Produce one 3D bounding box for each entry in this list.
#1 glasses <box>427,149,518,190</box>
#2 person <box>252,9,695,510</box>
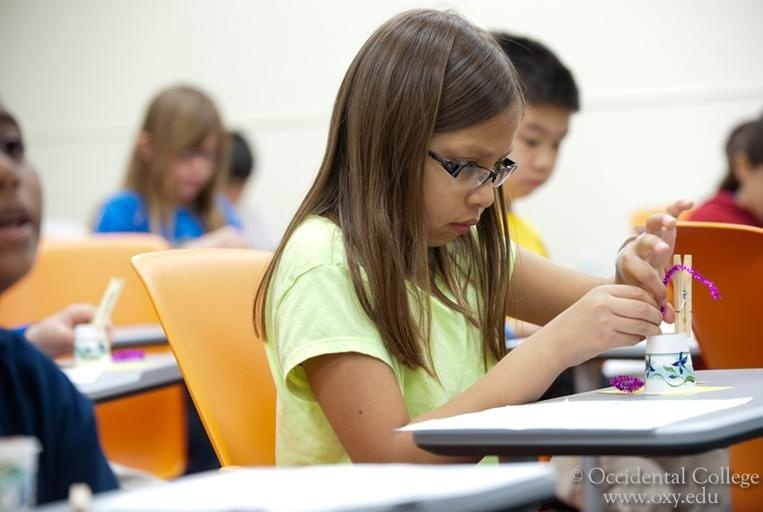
[{"bbox_3d":[0.181,-0.160,1.398,0.101,0.032,0.100,33,16,28],"label":"glasses"},{"bbox_3d":[0.139,-0.036,1.448,0.777,0.891,0.495,-3,9,-13],"label":"person"}]
